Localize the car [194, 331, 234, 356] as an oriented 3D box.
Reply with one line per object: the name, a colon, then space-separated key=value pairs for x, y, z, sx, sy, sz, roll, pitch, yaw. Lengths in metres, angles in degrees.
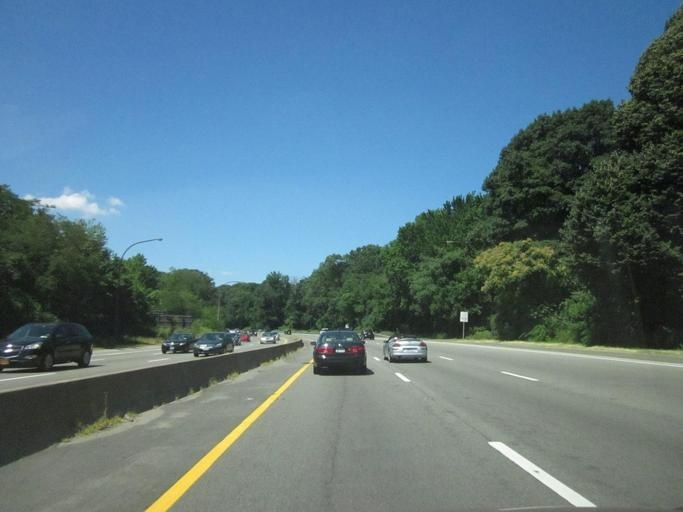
car: x=-7.355 y=5.097 z=39.271 sx=1.196 sy=1.087 sz=3.048 roll=-2 pitch=-18 yaw=0

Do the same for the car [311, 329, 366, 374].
car: x=-0.086 y=3.449 z=24.389 sx=1.794 sy=1.319 sz=1.039 roll=-1 pitch=2 yaw=-8

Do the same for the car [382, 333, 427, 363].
car: x=2.851 y=4.295 z=30.731 sx=1.429 sy=1.222 sz=2.499 roll=-1 pitch=2 yaw=-20

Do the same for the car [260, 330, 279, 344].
car: x=-7.806 y=8.640 z=72.551 sx=1.479 sy=1.110 sz=2.617 roll=-1 pitch=-14 yaw=-4

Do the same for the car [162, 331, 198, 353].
car: x=-10.369 y=5.645 z=42.690 sx=1.441 sy=1.257 sz=2.883 roll=0 pitch=2 yaw=10

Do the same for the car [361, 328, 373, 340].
car: x=2.881 y=8.416 z=72.501 sx=0.985 sy=0.998 sz=1.842 roll=1 pitch=0 yaw=4
